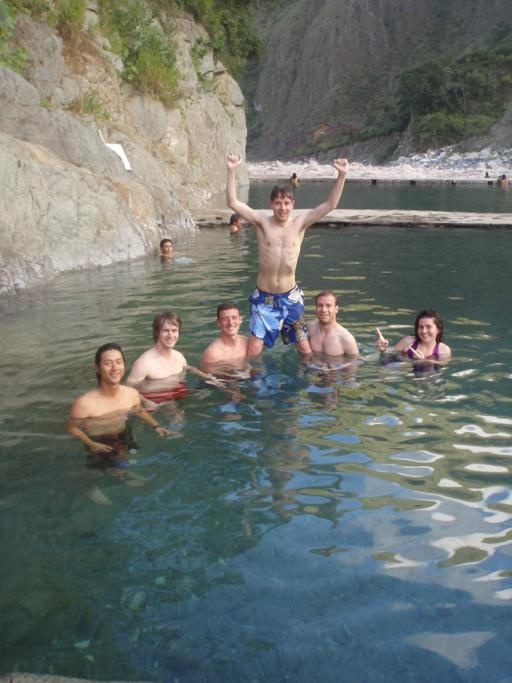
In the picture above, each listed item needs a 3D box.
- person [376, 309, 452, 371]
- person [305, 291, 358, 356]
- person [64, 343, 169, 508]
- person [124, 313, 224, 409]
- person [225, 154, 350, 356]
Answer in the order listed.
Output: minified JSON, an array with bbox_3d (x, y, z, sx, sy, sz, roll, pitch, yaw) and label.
[{"bbox_3d":[1.671,0.057,6.729,0.794,0.843,0.452,6,32,6],"label":"person"},{"bbox_3d":[0.893,-0.188,7.429,0.835,0.743,0.344,12,34,21],"label":"person"},{"bbox_3d":[-1.111,0.648,5.056,0.765,1.183,0.622,-4,22,-15],"label":"person"},{"bbox_3d":[-0.859,0.198,6.171,0.618,0.905,1.088,13,20,37],"label":"person"},{"bbox_3d":[0.244,-0.690,6.549,1.059,1.783,0.763,-1,9,-3],"label":"person"}]
